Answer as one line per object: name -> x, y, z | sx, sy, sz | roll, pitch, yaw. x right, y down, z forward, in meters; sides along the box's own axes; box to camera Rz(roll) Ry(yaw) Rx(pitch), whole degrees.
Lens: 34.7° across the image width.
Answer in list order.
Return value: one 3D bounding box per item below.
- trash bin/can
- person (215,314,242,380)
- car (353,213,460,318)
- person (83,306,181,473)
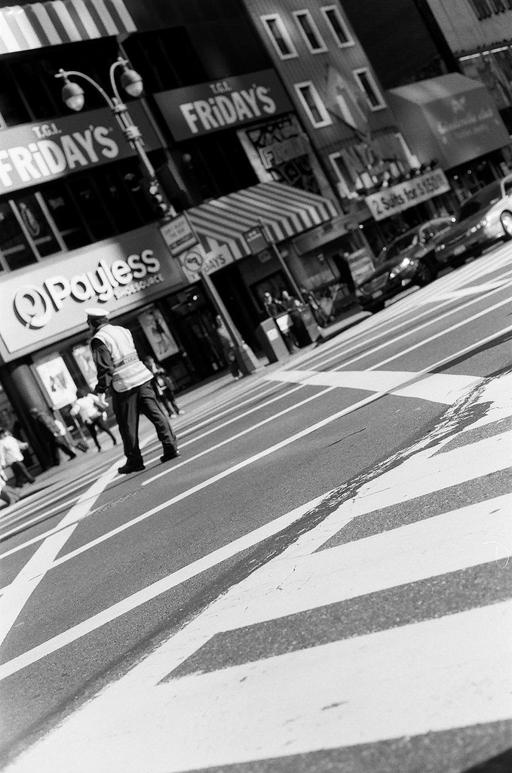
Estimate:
trash bin/can -> 0.921, -1.371, 21.152 | 1.440, 1.238, 0.489 | -26, 7, -42
person -> -0.885, -1.076, 24.494 | 0.469, 2.214, 0.634 | -21, -11, 20
car -> 4.017, -3.201, 20.861 | 3.431, 1.511, 1.545 | -31, 4, -26
person -> -1.582, 0.072, 9.758 | 0.793, 2.130, 0.896 | -27, 2, -9
